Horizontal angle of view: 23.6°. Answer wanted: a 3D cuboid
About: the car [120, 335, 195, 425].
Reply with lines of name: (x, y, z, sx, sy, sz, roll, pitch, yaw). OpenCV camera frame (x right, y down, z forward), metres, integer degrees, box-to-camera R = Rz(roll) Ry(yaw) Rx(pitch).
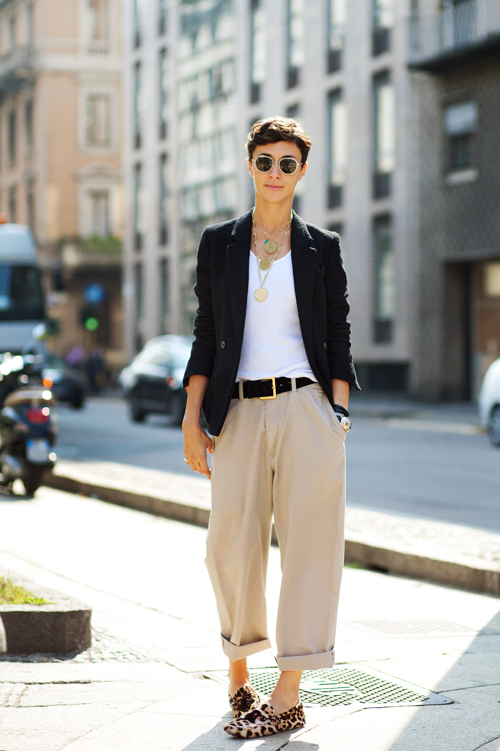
car: (-1.196, 0.028, 18.460, 1.012, 0.941, 2.158, 1, -4, -24)

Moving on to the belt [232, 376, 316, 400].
belt: (0.069, 0.039, 3.540, 0.241, 0.065, 0.062, -1, 3, -2)

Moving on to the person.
person: (0.067, 0.115, 3.585, 0.533, 1.810, 0.453, -1, 3, -3)

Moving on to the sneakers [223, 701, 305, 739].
sneakers: (0.047, 0.981, 3.480, 0.237, 0.085, 0.087, -2, -7, -29)

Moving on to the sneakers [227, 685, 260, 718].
sneakers: (-0.021, 0.965, 3.557, 0.070, 0.055, 0.134, -2, -10, -2)

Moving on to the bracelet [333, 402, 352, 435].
bracelet: (0.292, 0.130, 3.583, 0.032, 0.077, 0.059, -27, 10, 6)
